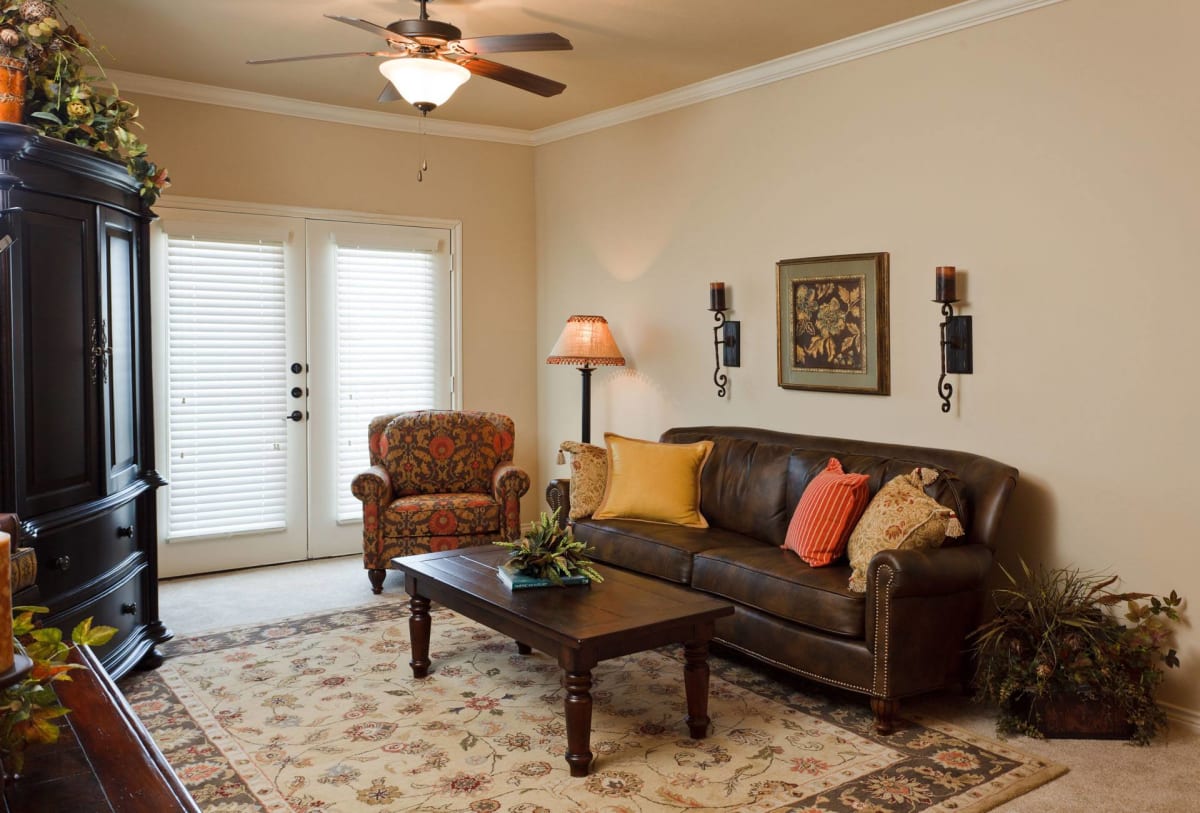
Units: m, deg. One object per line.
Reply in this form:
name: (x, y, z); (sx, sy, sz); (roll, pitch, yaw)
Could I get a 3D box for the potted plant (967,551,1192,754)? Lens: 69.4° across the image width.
potted plant: (2.204, 1.102, 4.106); (0.810, 0.578, 0.817); (1, -2, 13)

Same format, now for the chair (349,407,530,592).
chair: (-1.077, 0.602, 5.986); (1.153, 1.028, 0.876); (-1, 6, -6)

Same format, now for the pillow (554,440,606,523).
pillow: (-0.055, 0.476, 5.515); (0.128, 0.408, 0.424); (6, -4, -34)

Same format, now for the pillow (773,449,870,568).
pillow: (1.193, 0.550, 4.621); (0.324, 0.491, 0.546); (-1, 3, 2)

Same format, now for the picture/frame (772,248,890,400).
picture/frame: (1.405, -0.502, 5.202); (0.098, 0.953, 0.942); (-4, 6, -42)

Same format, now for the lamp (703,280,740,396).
lamp: (0.811, -0.438, 5.793); (0.115, 0.776, 0.295); (-7, 12, -35)

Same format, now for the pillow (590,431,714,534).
pillow: (0.316, 0.489, 5.318); (0.584, 0.443, 0.222); (3, -4, 9)

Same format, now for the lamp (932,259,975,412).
lamp: (1.909, -0.356, 4.711); (0.221, 0.783, 0.141); (5, 11, 24)
